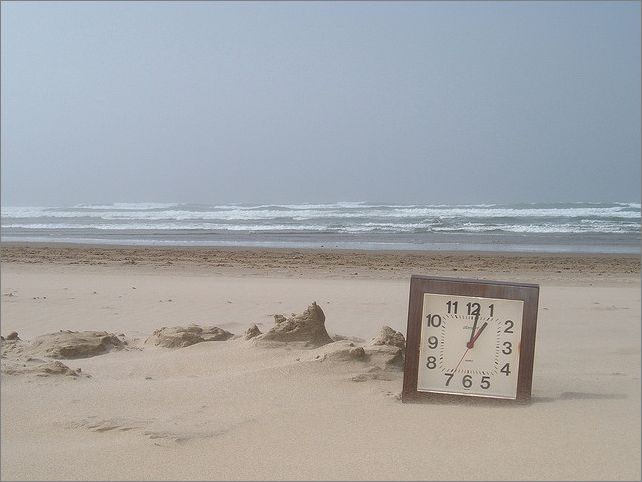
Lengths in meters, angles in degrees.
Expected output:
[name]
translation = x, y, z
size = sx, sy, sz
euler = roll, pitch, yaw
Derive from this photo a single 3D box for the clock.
[clock]
translation = 1.266, 0.878, 5.386
size = 1.029, 1.037, 0.121
euler = 3, -2, 3
